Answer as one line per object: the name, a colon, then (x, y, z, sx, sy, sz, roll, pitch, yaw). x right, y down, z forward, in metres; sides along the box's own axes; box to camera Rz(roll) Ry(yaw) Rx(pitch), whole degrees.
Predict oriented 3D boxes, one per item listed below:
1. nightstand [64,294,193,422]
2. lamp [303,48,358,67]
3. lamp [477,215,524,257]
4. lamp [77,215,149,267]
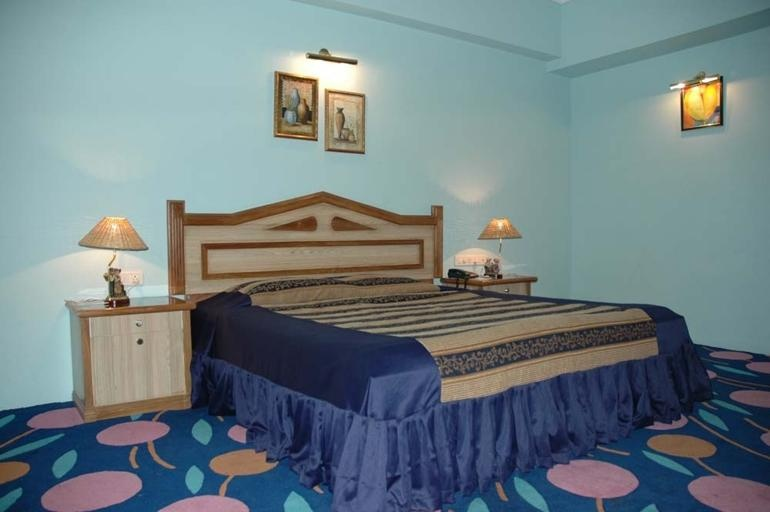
nightstand: (-2.203, 0.819, 4.571, 1.122, 1.101, 0.901, 0, -2, -34)
lamp: (-0.544, -2.112, 5.395, 0.596, 0.164, 0.228, -3, 5, -19)
lamp: (1.414, -0.239, 6.340, 0.460, 0.502, 0.536, 1, 4, 26)
lamp: (-2.341, -0.155, 4.591, 0.463, 0.623, 0.551, 1, 3, -1)
